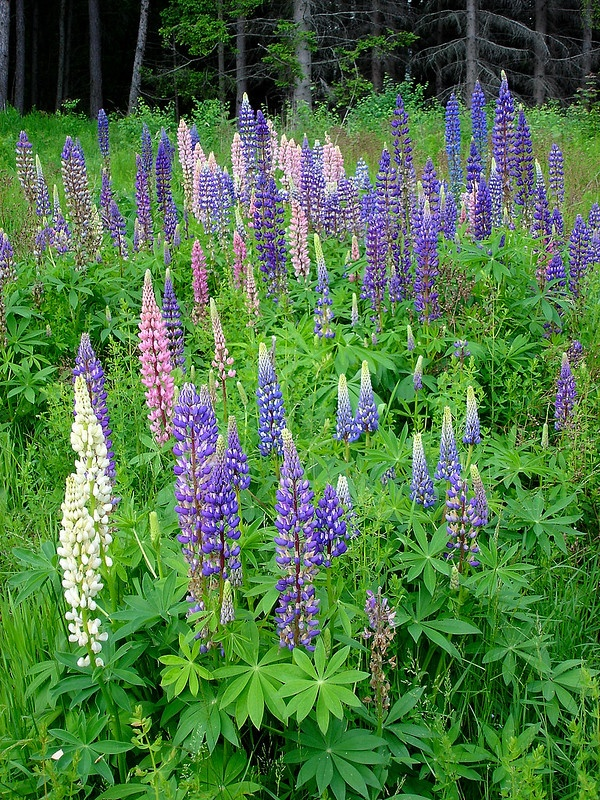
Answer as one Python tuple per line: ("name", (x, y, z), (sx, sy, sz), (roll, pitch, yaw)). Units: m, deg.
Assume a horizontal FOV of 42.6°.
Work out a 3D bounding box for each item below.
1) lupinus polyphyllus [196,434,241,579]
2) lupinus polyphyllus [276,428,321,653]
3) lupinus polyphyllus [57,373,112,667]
("lupinus polyphyllus", (-0.276, 0.417, 2.716), (0.138, 0.614, 0.341), (-1, 7, -6))
("lupinus polyphyllus", (-0.007, 0.507, 2.670), (0.153, 0.815, 0.280), (0, 7, 0))
("lupinus polyphyllus", (-0.762, 0.473, 2.753), (0.197, 1.095, 0.575), (-2, 7, -17))
